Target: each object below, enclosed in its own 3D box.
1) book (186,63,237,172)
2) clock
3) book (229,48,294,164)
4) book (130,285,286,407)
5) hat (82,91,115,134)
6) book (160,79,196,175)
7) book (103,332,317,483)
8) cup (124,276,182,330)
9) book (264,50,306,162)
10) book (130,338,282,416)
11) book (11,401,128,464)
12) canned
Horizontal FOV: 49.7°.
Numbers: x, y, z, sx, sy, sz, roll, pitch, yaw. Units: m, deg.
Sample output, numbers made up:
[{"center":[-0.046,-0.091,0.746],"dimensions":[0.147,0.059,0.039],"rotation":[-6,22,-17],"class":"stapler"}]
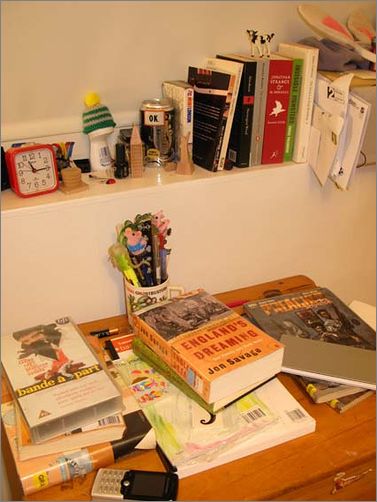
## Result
[{"center":[0.062,-0.364,1.089],"dimensions":[0.033,0.273,0.212],"rotation":[-6,34,-25],"class":"book"},{"center":[-0.364,-0.189,0.943],"dimensions":[0.102,0.112,0.060],"rotation":[-18,33,-37],"class":"clock"},{"center":[0.194,-0.398,1.100],"dimensions":[0.149,0.245,0.257],"rotation":[-3,30,-6],"class":"book"},{"center":[0.032,0.174,0.788],"dimensions":[0.192,0.070,0.253],"rotation":[-13,29,-32],"class":"book"},{"center":[-0.243,-0.373,1.084],"dimensions":[0.086,0.098,0.112],"rotation":[-6,29,-9],"class":"hat"},{"center":[-0.026,-0.354,1.139],"dimensions":[0.091,0.221,0.207],"rotation":[-3,29,-2],"class":"book"},{"center":[0.039,0.261,0.669],"dimensions":[0.205,0.027,0.186],"rotation":[-13,40,-25],"class":"book"},{"center":[-0.082,0.088,0.920],"dimensions":[0.129,0.107,0.079],"rotation":[-16,40,-24],"class":"cup"},{"center":[0.265,-0.416,1.123],"dimensions":[0.096,0.257,0.254],"rotation":[3,23,6],"class":"book"},{"center":[-0.023,0.229,0.736],"dimensions":[0.143,0.024,0.140],"rotation":[-18,34,-38],"class":"book"},{"center":[-0.190,0.260,0.600],"dimensions":[0.182,0.057,0.093],"rotation":[0,29,2],"class":"book"},{"center":[-0.085,-0.332,1.136],"dimensions":[0.136,0.156,0.132],"rotation":[-2,18,-1],"class":"canned"}]
